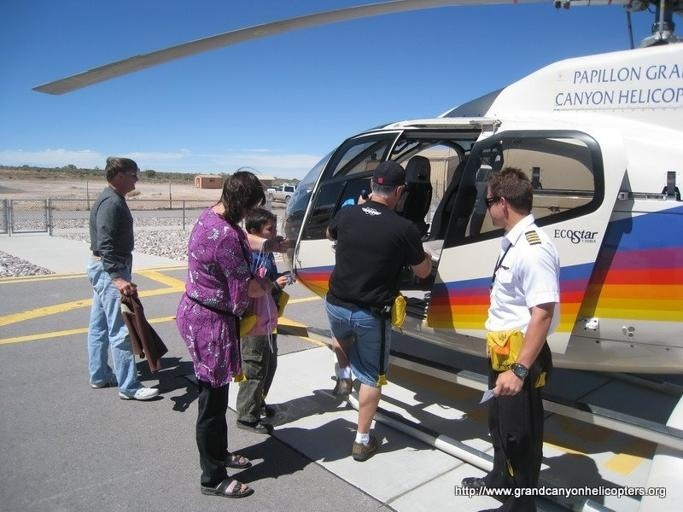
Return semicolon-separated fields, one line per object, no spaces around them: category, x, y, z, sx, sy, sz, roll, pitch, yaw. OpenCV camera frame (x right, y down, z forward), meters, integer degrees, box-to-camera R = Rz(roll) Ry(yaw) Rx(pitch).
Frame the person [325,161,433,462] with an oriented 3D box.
person;0.215;0.430;3.354;0.779;2.289;0.517;11;16;37

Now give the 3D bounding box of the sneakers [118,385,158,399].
sneakers;-1.961;1.324;4.227;0.386;0.141;0.139;-1;1;-1

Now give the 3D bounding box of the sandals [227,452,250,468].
sandals;-0.778;1.551;3.295;0.233;0.073;0.078;9;24;-10

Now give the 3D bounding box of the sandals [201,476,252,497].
sandals;-0.779;1.596;3.030;0.379;0.105;0.135;1;-2;5

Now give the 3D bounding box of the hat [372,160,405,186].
hat;0.355;-0.607;3.189;0.177;0.113;0.225;9;26;20

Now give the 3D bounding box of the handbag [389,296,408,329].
handbag;0.447;0.425;3.267;0.182;0.261;0.069;6;-10;25

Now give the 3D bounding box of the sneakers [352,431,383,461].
sneakers;0.217;1.509;3.454;0.114;0.116;0.281;1;8;30

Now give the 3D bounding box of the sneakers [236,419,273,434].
sneakers;-0.719;1.449;3.709;0.332;0.121;0.117;1;-1;8

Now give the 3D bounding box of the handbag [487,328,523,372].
handbag;0.957;0.565;2.545;0.216;0.279;0.165;8;14;29

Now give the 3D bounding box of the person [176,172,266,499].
person;-0.830;0.562;2.932;0.543;2.230;0.478;-1;13;-12

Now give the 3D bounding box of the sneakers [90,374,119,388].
sneakers;-2.418;1.285;4.453;0.300;0.109;0.101;-6;12;-30

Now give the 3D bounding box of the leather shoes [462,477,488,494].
leather shoes;0.926;1.591;3.030;0.071;0.072;0.185;2;0;-42
